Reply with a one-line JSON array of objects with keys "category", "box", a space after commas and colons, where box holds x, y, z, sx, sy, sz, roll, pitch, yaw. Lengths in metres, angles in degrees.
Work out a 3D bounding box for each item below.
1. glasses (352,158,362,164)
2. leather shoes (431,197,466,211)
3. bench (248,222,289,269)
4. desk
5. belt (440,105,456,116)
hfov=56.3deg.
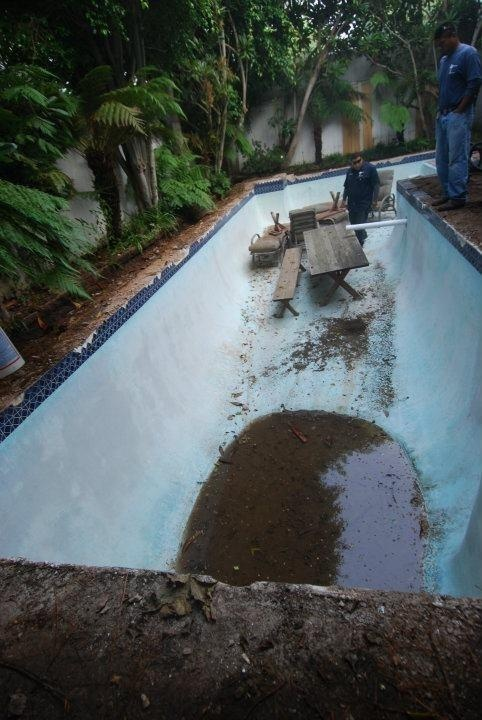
[{"category": "glasses", "box": [1.726, -2.963, 6.696, 0.123, 0.104, 0.166, -4, 26, 14]}, {"category": "leather shoes", "box": [2.039, -1.514, 4.385, 0.213, 0.084, 0.226, -3, 29, 8]}, {"category": "bench", "box": [0.569, -2.126, 8.002, 0.375, 0.429, 1.304, -2, 39, 21]}, {"category": "desk", "box": [1.316, -1.289, 6.195, 0.591, 0.430, 1.615, -15, 35, 10]}, {"category": "belt", "box": [1.989, -2.406, 4.350, 0.101, 0.038, 0.100, 14, 55, 44]}]
